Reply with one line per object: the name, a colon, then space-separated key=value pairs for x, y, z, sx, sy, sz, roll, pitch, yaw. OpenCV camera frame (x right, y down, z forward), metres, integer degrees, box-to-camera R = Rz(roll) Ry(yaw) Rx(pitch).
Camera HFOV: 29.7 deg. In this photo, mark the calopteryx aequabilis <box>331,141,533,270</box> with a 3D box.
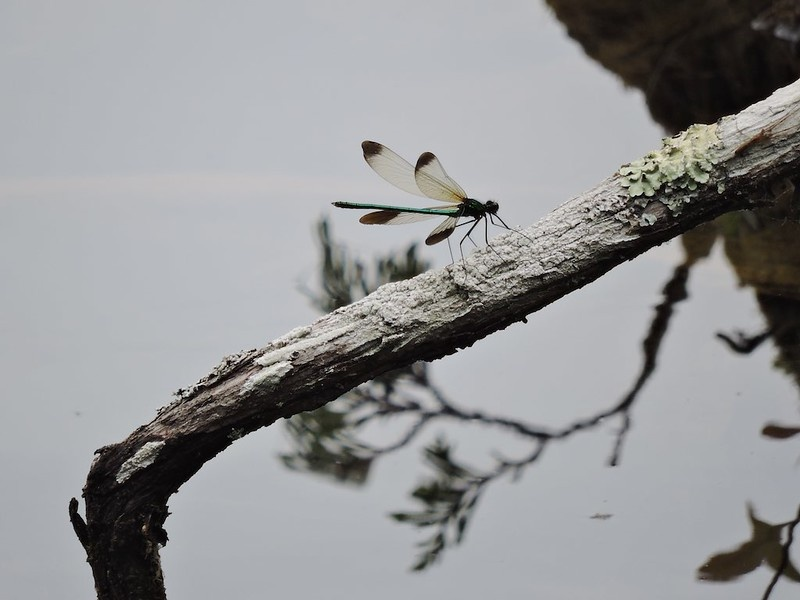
calopteryx aequabilis: x=0.088 y=-0.251 z=3.764 sx=0.435 sy=0.304 sz=0.295 roll=-2 pitch=1 yaw=19
